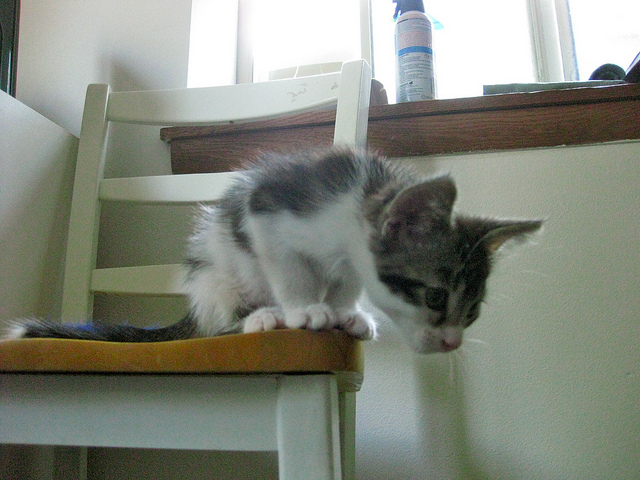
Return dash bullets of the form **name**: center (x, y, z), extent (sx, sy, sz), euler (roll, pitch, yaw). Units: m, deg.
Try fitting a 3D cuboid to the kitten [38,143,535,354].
- **kitten**: center (-0.181, 0.106, 1.712), extent (1.376, 0.536, 0.498), euler (-11, -22, 24)
